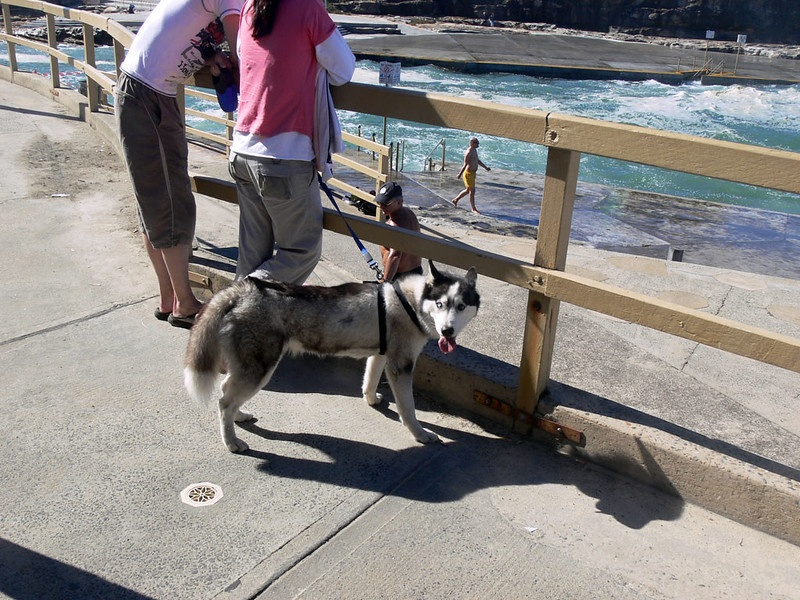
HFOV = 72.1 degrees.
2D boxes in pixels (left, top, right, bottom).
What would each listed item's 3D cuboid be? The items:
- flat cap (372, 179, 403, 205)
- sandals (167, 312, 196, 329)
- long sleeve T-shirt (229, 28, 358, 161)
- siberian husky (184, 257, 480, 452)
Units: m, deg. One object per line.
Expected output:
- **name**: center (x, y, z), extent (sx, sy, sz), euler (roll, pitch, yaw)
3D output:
- **flat cap**: center (-0.096, -0.905, 4.590), extent (0.179, 0.151, 0.274), euler (17, 24, 42)
- **sandals**: center (-1.556, 0.145, 3.927), extent (0.245, 0.092, 0.086), euler (2, 25, -1)
- **long sleeve T-shirt**: center (-0.632, -1.177, 3.116), extent (0.671, 0.757, 0.543), euler (26, 37, 21)
- **siberian husky**: center (-0.387, 0.303, 3.207), extent (1.694, 0.946, 0.596), euler (-2, 13, -18)
